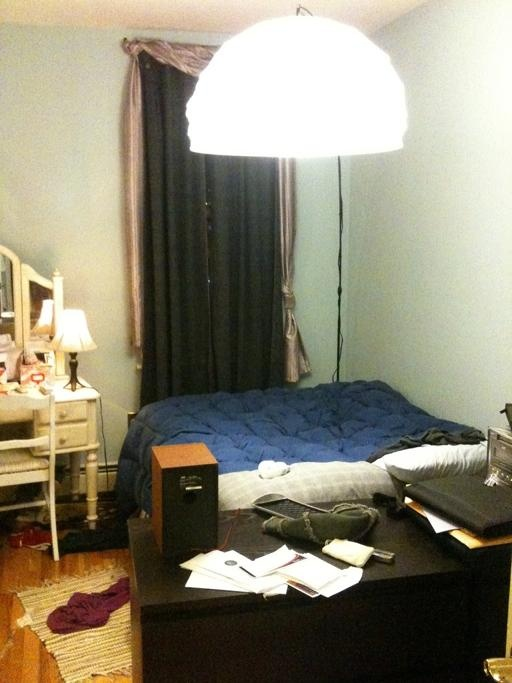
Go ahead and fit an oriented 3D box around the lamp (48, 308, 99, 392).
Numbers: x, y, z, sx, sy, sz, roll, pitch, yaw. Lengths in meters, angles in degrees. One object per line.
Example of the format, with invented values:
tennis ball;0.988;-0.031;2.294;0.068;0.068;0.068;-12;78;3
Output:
lamp;-0.956;0.033;3.038;0.201;0.393;0.423;-3;6;-21

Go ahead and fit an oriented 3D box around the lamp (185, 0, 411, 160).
lamp;0.101;-0.523;1.301;0.434;0.272;0.427;0;9;8

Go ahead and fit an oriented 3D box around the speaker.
speaker;-0.166;0.373;1.404;0.145;0.243;0.243;-2;17;-10

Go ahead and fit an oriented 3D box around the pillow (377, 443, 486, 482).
pillow;0.626;0.421;2.042;0.280;0.064;0.162;-4;5;-21
